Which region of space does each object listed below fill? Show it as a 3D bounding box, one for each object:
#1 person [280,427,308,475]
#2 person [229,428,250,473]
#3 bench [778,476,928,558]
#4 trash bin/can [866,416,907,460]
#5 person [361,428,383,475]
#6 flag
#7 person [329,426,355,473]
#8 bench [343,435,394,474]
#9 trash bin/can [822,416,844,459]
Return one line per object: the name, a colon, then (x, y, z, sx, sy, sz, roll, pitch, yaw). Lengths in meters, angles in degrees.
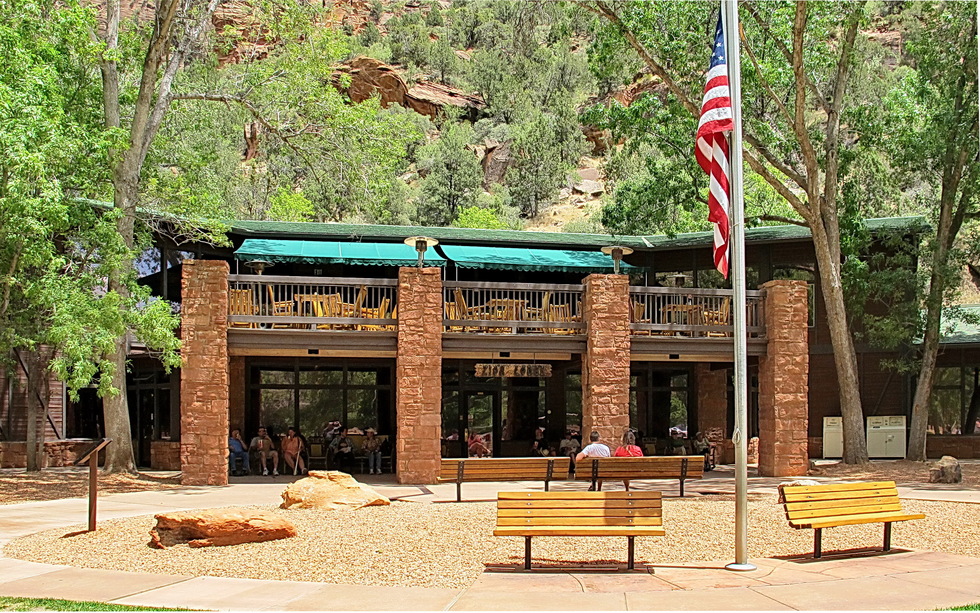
person: (-6.330, 4.590, 33.977, 0.778, 1.458, 1.112, -2, 6, -11)
person: (-8.152, 4.611, 34.133, 0.591, 1.442, 1.478, -2, 6, -13)
bench: (7.868, 4.605, 23.570, 3.191, 1.546, 1.471, -2, 6, -14)
trash bin/can: (14.937, 4.818, 39.452, 1.451, 1.528, 0.657, 1, 6, 12)
person: (-3.806, 4.669, 34.271, 0.518, 1.423, 1.049, -1, 6, -8)
flag: (5.102, -3.619, 23.478, 0.652, 5.775, 1.163, -2, 7, -9)
person: (-4.908, 4.690, 35.028, 0.771, 1.331, 1.498, -1, 6, -8)
bench: (-3.945, 4.828, 34.967, 1.459, 1.245, 1.129, 4, -3, -26)
trash bin/can: (13.311, 4.922, 40.064, 0.845, 1.486, 0.888, 7, -10, -40)
